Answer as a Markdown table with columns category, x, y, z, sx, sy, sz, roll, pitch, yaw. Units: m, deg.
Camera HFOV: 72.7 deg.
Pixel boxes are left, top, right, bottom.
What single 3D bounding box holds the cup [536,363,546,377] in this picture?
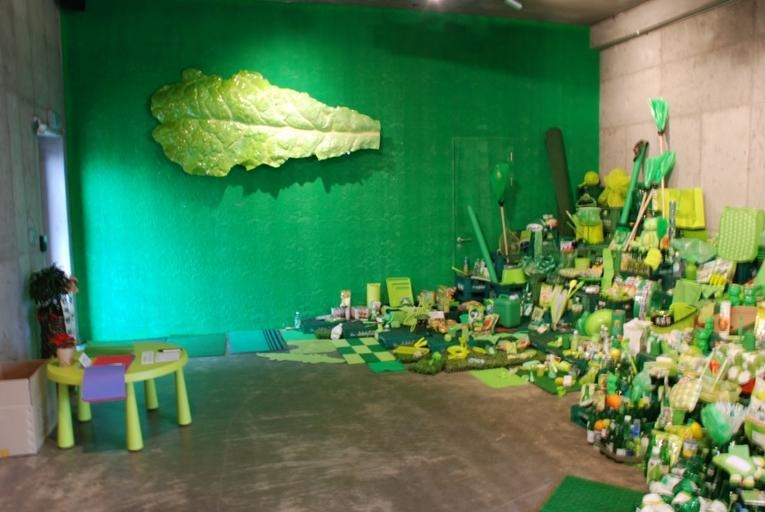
| category | x | y | z | sx | sy | sz | roll | pitch | yaw |
| --- | --- | --- | --- | --- | --- | --- | --- | --- | --- |
| cup | 2.119 | 1.514 | 7.036 | 0.122 | 0.154 | 0.227 | 1 | 3 | 39 |

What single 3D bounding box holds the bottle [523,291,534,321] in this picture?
| category | x | y | z | sx | sy | sz | roll | pitch | yaw |
| --- | --- | --- | --- | --- | --- | --- | --- | --- | --- |
| bottle | 2.414 | 0.774 | 8.672 | 0.191 | 0.362 | 0.219 | -4 | 3 | 15 |

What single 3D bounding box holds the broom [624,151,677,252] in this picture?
| category | x | y | z | sx | sy | sz | roll | pitch | yaw |
| --- | --- | --- | --- | --- | --- | --- | --- | --- | --- |
| broom | 4.169 | -0.891 | 8.121 | 1.029 | 1.457 | 0.436 | -7 | 4 | -34 |

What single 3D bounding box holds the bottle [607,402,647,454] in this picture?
| category | x | y | z | sx | sy | sz | roll | pitch | yaw |
| --- | --- | --- | --- | --- | --- | --- | --- | --- | --- |
| bottle | 2.561 | 1.799 | 5.508 | 0.453 | 0.484 | 0.242 | -4 | 3 | 10 |

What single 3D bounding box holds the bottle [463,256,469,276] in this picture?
| category | x | y | z | sx | sy | sz | roll | pitch | yaw |
| --- | --- | --- | --- | --- | --- | --- | --- | --- | --- |
| bottle | 1.472 | 0.147 | 9.203 | 0.108 | 0.303 | 0.250 | -5 | 3 | 9 |

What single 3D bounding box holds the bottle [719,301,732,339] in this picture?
| category | x | y | z | sx | sy | sz | roll | pitch | yaw |
| --- | --- | --- | --- | --- | --- | --- | --- | --- | --- |
| bottle | 3.943 | 0.707 | 6.010 | 0.124 | 0.408 | 0.331 | -3 | 4 | 33 |

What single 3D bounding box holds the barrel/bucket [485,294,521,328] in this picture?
| category | x | y | z | sx | sy | sz | roll | pitch | yaw |
| --- | --- | --- | --- | --- | --- | --- | --- | --- | --- |
| barrel/bucket | 1.916 | 0.888 | 8.573 | 0.366 | 0.507 | 0.606 | 0 | -3 | -40 |

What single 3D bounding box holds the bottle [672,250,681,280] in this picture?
| category | x | y | z | sx | sy | sz | roll | pitch | yaw |
| --- | --- | --- | --- | --- | --- | --- | --- | --- | --- |
| bottle | 4.187 | 0.119 | 7.403 | 0.118 | 0.346 | 0.356 | -3 | 3 | 30 |

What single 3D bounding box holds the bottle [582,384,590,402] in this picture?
| category | x | y | z | sx | sy | sz | roll | pitch | yaw |
| --- | --- | --- | --- | --- | --- | --- | --- | --- | --- |
| bottle | 2.367 | 1.558 | 6.073 | 0.102 | 0.180 | 0.305 | -4 | 3 | 20 |

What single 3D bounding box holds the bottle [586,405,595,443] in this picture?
| category | x | y | z | sx | sy | sz | roll | pitch | yaw |
| --- | --- | --- | --- | --- | --- | --- | --- | --- | --- |
| bottle | 2.284 | 1.832 | 5.701 | 0.110 | 0.334 | 0.271 | -4 | 3 | 22 |

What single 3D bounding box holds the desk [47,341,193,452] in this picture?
| category | x | y | z | sx | sy | sz | roll | pitch | yaw |
| --- | --- | --- | --- | --- | --- | --- | --- | --- | --- |
| desk | -3.032 | 1.594 | 6.065 | 1.428 | 0.800 | 1.385 | 1 | 4 | 26 |

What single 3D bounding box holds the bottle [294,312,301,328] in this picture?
| category | x | y | z | sx | sy | sz | roll | pitch | yaw |
| --- | --- | --- | --- | --- | --- | --- | --- | --- | --- |
| bottle | -1.446 | 1.064 | 8.790 | 0.119 | 0.190 | 0.149 | -6 | 3 | -10 |

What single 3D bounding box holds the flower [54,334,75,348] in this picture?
| category | x | y | z | sx | sy | sz | roll | pitch | yaw |
| --- | --- | --- | --- | --- | --- | --- | --- | --- | --- |
| flower | -3.501 | 0.915 | 5.747 | 0.162 | 0.114 | 0.157 | 1 | 3 | -9 |

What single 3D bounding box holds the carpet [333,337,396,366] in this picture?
| category | x | y | z | sx | sy | sz | roll | pitch | yaw |
| --- | --- | --- | --- | --- | --- | --- | --- | --- | --- |
| carpet | -0.294 | 1.412 | 7.902 | 0.776 | 0.173 | 1.015 | -5 | 3 | -13 |

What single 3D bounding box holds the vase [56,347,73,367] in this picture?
| category | x | y | z | sx | sy | sz | roll | pitch | yaw |
| --- | --- | --- | --- | --- | --- | --- | --- | --- | --- |
| vase | -3.486 | 1.085 | 5.704 | 0.200 | 0.179 | 0.187 | 2 | 2 | 8 |
